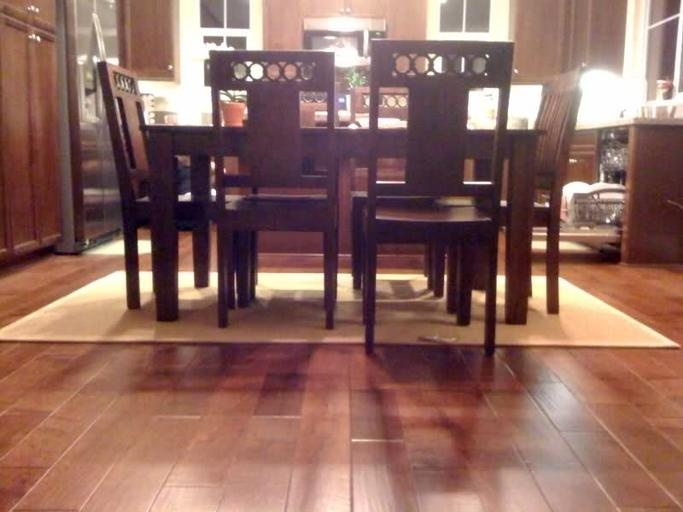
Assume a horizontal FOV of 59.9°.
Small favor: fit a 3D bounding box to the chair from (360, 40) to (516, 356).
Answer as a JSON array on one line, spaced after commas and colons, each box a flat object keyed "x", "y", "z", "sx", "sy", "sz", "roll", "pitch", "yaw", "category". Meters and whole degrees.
[{"x": 0.392, "y": -0.289, "z": 2.525, "sx": 0.593, "sy": 1.247, "sz": 0.667, "roll": 0, "pitch": 11, "yaw": 2, "category": "chair"}]

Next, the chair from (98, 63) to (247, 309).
[{"x": -0.916, "y": -0.457, "z": 3.030, "sx": 0.397, "sy": 0.948, "sz": 0.499, "roll": 0, "pitch": 7, "yaw": 1, "category": "chair"}]

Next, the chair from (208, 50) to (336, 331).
[{"x": -0.277, "y": -0.299, "z": 2.779, "sx": 0.649, "sy": 1.188, "sz": 0.736, "roll": 3, "pitch": 10, "yaw": 17, "category": "chair"}]

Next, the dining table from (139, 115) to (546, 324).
[{"x": -0.056, "y": -0.133, "z": 2.906, "sx": 1.679, "sy": 0.909, "sz": 0.686, "roll": -4, "pitch": -5, "yaw": -10, "category": "dining table"}]
